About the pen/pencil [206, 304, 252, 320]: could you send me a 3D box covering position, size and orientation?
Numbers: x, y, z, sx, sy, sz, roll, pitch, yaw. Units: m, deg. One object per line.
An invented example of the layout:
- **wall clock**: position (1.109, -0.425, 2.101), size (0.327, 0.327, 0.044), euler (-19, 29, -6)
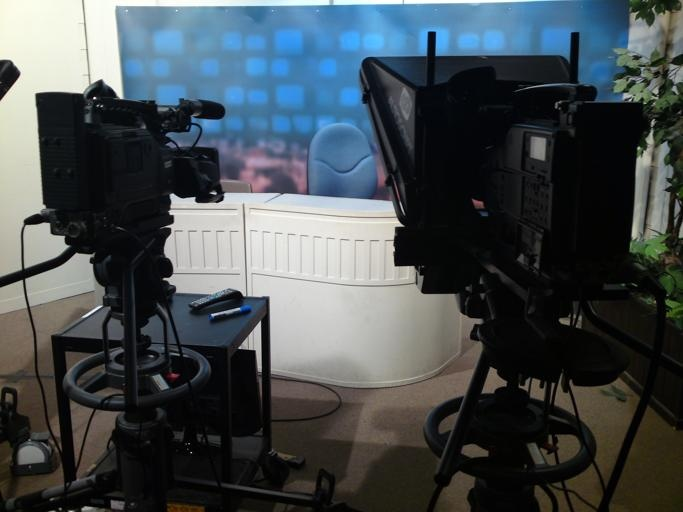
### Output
- **pen/pencil**: position (-0.457, 0.229, 2.369), size (0.024, 0.027, 0.137), euler (19, 23, 39)

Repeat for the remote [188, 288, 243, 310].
- **remote**: position (-0.529, 0.176, 2.441), size (0.082, 0.052, 0.200), euler (14, 21, 42)

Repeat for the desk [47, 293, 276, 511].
- **desk**: position (-0.681, 0.493, 2.539), size (0.713, 0.830, 0.788), euler (3, 20, 7)
